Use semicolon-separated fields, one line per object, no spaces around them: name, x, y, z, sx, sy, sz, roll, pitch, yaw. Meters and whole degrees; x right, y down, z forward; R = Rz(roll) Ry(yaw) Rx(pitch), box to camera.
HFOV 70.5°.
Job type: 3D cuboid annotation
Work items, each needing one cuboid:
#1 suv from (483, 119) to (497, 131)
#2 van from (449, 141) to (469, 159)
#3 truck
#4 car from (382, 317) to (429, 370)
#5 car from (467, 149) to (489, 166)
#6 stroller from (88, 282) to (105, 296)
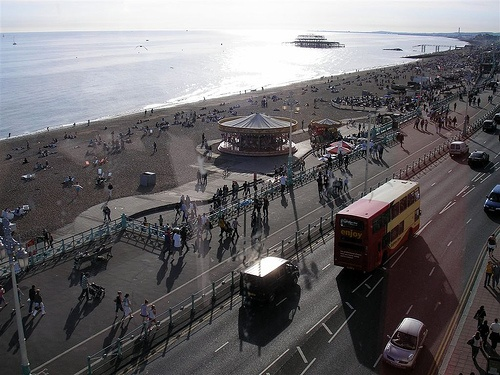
suv;47.946;-12.740;70.650;1.455;1.355;3.207;12;49;33
van;34.105;-6.324;57.716;3.603;1.860;2.019;-33;34;-31
truck;1.289;6.124;23.768;2.210;1.821;3.819;12;22;39
car;7.866;7.889;17.791;1.401;1.065;2.489;19;63;38
car;33.989;-4.441;52.574;3.990;1.668;1.652;-38;38;-28
stroller;-10.718;7.254;24.810;1.047;0.813;0.790;2;29;2
